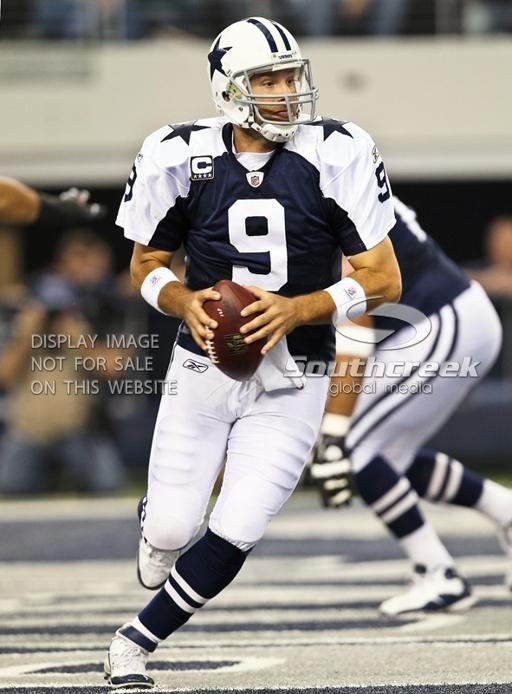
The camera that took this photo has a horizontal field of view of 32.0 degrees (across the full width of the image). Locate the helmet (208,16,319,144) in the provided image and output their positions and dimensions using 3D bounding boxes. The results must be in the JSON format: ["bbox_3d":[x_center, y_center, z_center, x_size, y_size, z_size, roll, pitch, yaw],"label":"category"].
[{"bbox_3d":[0.016,-0.633,2.119,0.259,0.251,0.335,-1,32,-2],"label":"helmet"}]

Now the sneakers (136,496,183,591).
[{"bbox_3d":[-0.264,0.529,2.326,0.117,0.262,0.119,3,14,0],"label":"sneakers"}]

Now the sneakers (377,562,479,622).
[{"bbox_3d":[0.557,0.788,2.931,0.431,0.147,0.170,0,12,-8],"label":"sneakers"}]

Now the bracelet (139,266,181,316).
[{"bbox_3d":[-0.252,-0.140,2.218,0.088,0.113,0.077,-13,24,-41],"label":"bracelet"}]

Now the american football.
[{"bbox_3d":[-0.055,-0.033,2.047,0.151,0.203,0.140,-23,1,-33],"label":"american football"}]

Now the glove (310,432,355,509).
[{"bbox_3d":[0.256,0.409,3.031,0.160,0.231,0.166,-6,11,-17],"label":"glove"}]

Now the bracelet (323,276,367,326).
[{"bbox_3d":[0.226,-0.107,2.072,0.119,0.092,0.050,-33,30,-2],"label":"bracelet"}]

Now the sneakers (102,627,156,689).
[{"bbox_3d":[-0.300,0.737,2.101,0.071,0.072,0.182,18,-8,-25],"label":"sneakers"}]
